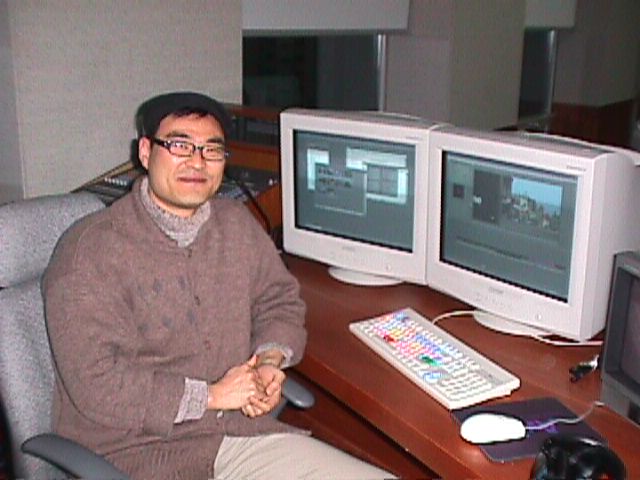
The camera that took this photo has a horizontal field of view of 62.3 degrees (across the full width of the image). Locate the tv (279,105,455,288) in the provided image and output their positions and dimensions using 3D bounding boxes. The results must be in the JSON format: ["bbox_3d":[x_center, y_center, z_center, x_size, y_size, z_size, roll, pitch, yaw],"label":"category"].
[{"bbox_3d":[0.199,-0.169,2.041,0.609,0.641,0.352,11,17,34],"label":"tv"}]
